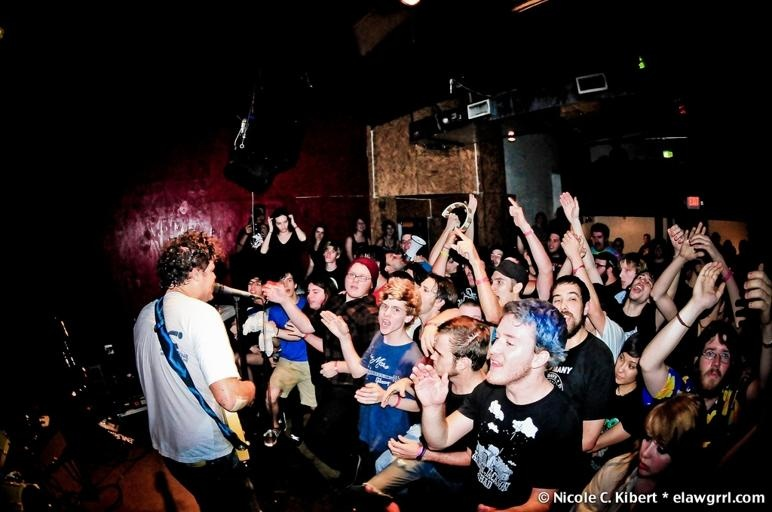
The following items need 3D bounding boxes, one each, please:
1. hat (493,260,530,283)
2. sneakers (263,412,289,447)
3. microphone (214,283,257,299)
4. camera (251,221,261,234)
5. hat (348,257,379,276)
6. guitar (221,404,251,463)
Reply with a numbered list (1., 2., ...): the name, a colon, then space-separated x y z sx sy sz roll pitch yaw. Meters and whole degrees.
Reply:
1. hat: 1.417 0.200 6.043 0.335 0.137 0.230 23 -1 -9
2. sneakers: -1.303 2.091 6.224 0.130 0.137 0.359 17 1 -3
3. microphone: -1.643 0.386 5.856 0.560 0.123 0.128 17 2 -43
4. camera: -2.211 -0.477 9.117 0.195 0.176 0.329 5 6 -7
5. hat: -0.210 0.121 5.912 0.237 0.084 0.235 35 -23 -17
6. guitar: -1.239 1.568 4.711 0.112 0.418 0.311 -19 29 -26
